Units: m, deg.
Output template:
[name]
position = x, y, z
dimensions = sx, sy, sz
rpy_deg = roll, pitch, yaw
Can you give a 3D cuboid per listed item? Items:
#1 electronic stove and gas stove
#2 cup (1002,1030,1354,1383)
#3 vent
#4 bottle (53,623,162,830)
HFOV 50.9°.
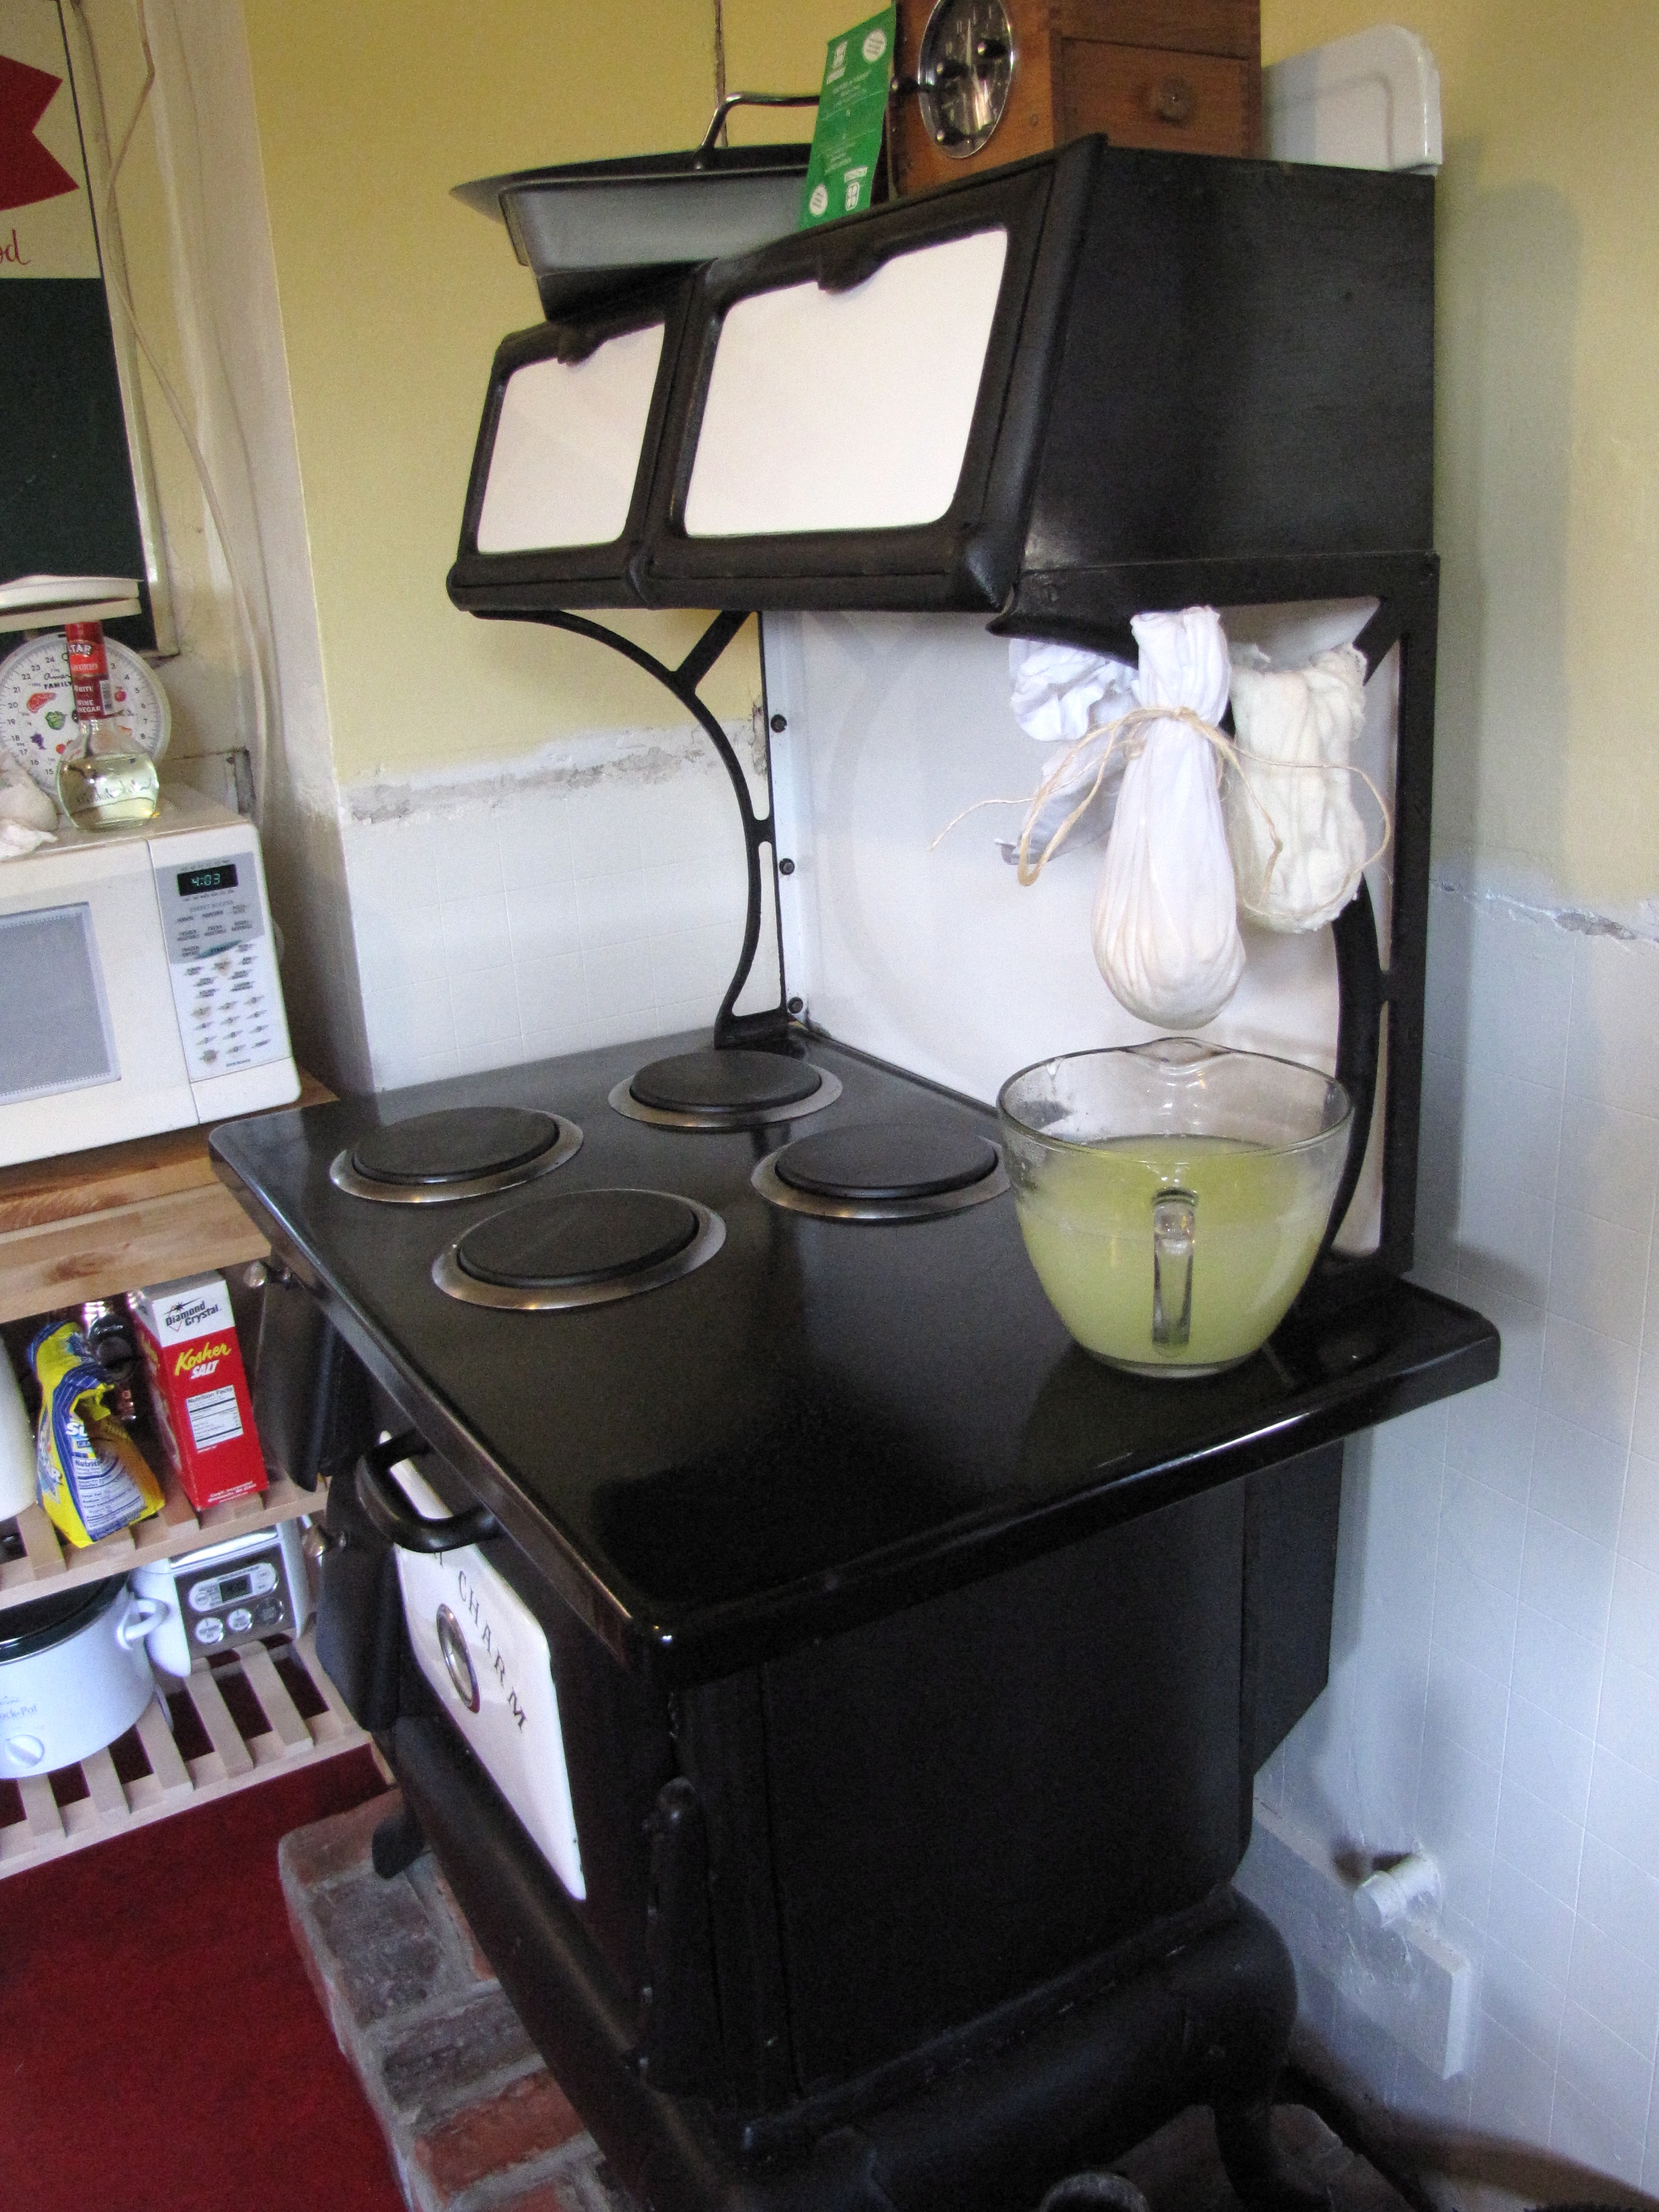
[electronic stove and gas stove]
position = -0.081, 0.096, 1.353
dimensions = 0.591, 0.087, 0.906
rpy_deg = -10, 19, -29
[cup]
position = 0.198, 0.066, 1.014
dimensions = 0.186, 0.149, 0.180
rpy_deg = -3, 20, 1
[vent]
position = 0.065, -0.402, 1.021
dimensions = 0.497, 0.231, 0.307
rpy_deg = 12, 24, 38
[bottle]
position = -0.739, -0.379, 1.765
dimensions = 0.118, 0.205, 0.120
rpy_deg = -6, 9, 1
